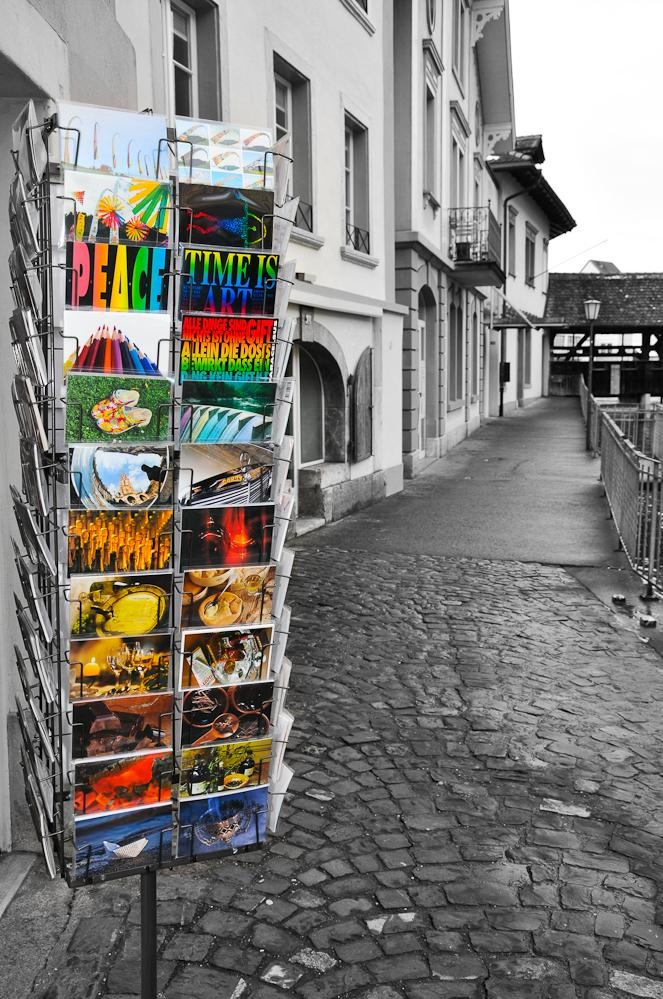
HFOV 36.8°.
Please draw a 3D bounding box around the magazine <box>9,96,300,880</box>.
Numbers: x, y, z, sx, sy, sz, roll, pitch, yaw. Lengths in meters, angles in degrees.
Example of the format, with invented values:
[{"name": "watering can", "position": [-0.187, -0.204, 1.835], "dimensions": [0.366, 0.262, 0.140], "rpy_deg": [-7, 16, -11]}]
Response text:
[{"name": "magazine", "position": [-0.419, 0.024, 2.212], "dimensions": [0.663, 1.732, 0.417], "rpy_deg": [1, 6, -3]}]
